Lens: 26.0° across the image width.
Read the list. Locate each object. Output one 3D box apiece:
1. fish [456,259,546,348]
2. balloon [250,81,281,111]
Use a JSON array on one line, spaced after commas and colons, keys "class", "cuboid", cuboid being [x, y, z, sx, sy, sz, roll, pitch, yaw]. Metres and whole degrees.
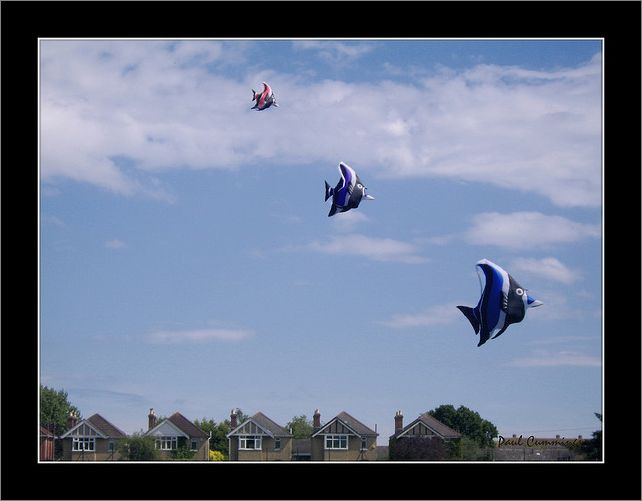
[{"class": "fish", "cuboid": [0.628, 0.216, 4.845, 0.256, 0.298, 0.203, 6, -14, -12]}, {"class": "balloon", "cuboid": [-0.190, -0.564, 5.167, 0.097, 0.064, 0.101, -9, 20, 11]}]
